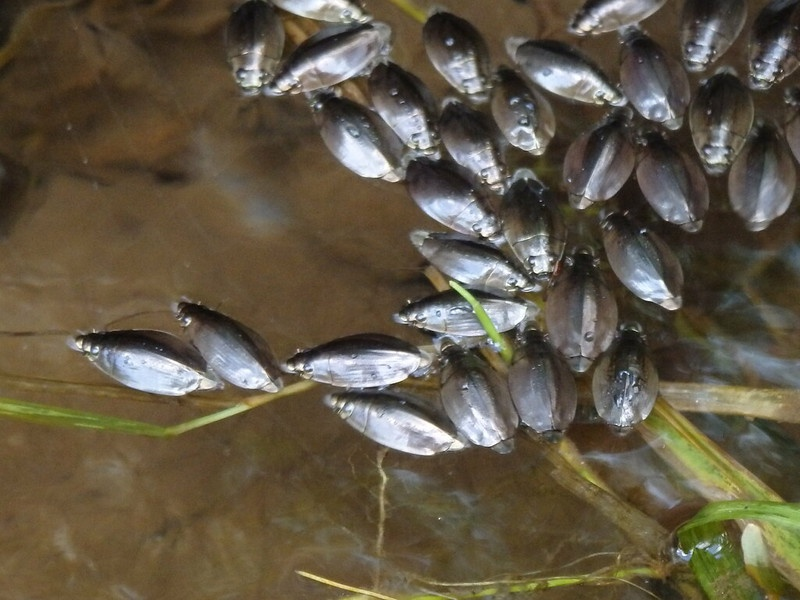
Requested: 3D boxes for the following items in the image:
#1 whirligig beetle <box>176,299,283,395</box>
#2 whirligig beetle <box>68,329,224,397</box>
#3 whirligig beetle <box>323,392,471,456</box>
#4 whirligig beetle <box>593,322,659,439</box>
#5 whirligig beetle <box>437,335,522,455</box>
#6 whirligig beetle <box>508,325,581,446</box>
[{"bbox_3d":[-0.232,0.070,1.299,0.159,0.057,0.081,38,77,9],"label":"whirligig beetle"},{"bbox_3d":[-0.352,0.085,1.302,0.205,0.079,0.070,15,-5,3],"label":"whirligig beetle"},{"bbox_3d":[-0.001,0.161,1.294,0.185,0.075,0.060,16,5,8],"label":"whirligig beetle"},{"bbox_3d":[0.304,0.113,1.239,0.090,0.129,0.039,6,-4,23],"label":"whirligig beetle"},{"bbox_3d":[0.102,0.137,1.287,0.088,0.051,0.154,-30,74,-11],"label":"whirligig beetle"},{"bbox_3d":[0.191,0.119,1.235,0.093,0.052,0.142,-13,72,-4],"label":"whirligig beetle"}]
